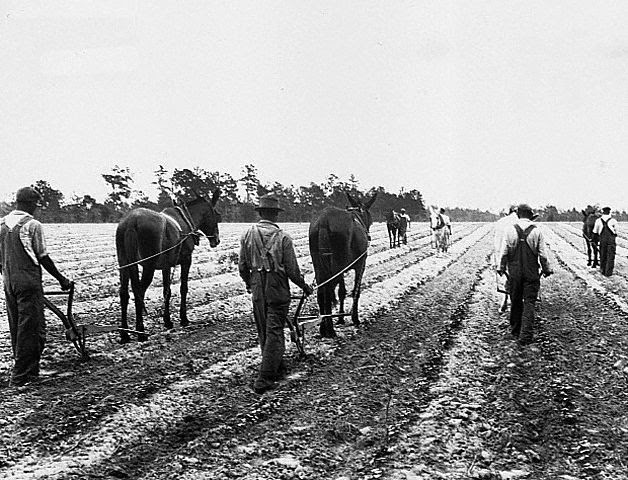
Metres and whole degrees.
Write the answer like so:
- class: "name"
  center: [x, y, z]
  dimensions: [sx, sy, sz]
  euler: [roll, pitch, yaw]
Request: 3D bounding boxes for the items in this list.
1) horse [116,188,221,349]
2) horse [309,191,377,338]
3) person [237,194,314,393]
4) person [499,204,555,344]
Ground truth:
- class: "horse"
  center: [-3.151, 0.455, 11.993]
  dimensions: [0.846, 3.073, 3.686]
  euler: [2, 2, 15]
- class: "horse"
  center: [0.722, 0.380, 12.471]
  dimensions: [0.814, 3.127, 3.613]
  euler: [1, -1, 20]
- class: "person"
  center: [-0.694, 0.744, 8.575]
  dimensions: [0.986, 2.794, 1.428]
  euler: [-1, 10, -9]
- class: "person"
  center: [4.125, 0.617, 10.554]
  dimensions: [0.929, 2.554, 1.468]
  euler: [4, 11, 24]
